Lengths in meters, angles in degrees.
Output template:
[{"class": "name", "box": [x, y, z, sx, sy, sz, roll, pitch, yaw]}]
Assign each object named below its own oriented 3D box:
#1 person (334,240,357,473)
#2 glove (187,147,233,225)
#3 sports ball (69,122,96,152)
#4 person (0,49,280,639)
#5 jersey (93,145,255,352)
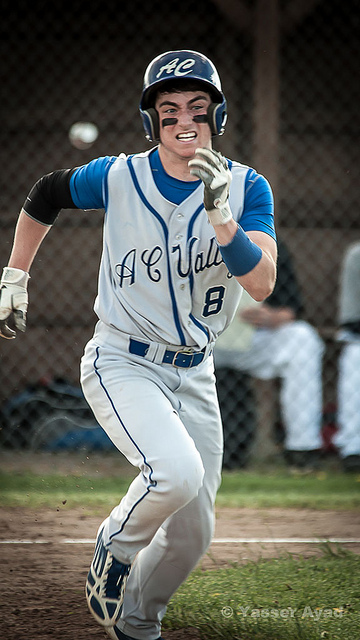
[{"class": "person", "box": [1.096, 0.211, 4.339, 0.144, 1.499, 0.562, 0, -3, 16]}, {"class": "glove", "box": [0.084, -0.318, 1.553, 0.091, 0.204, 0.145, -1, -3, 23]}, {"class": "sports ball", "box": [-0.829, -1.555, 5.550, 0.218, 0.208, 0.115, -17, 18, -7]}, {"class": "person", "box": [-0.110, 0.088, 1.842, 0.611, 1.536, 0.411, -2, -4, 40]}, {"class": "jersey", "box": [-0.018, -0.202, 1.796, 0.410, 0.512, 0.275, 5, 18, -2]}]
